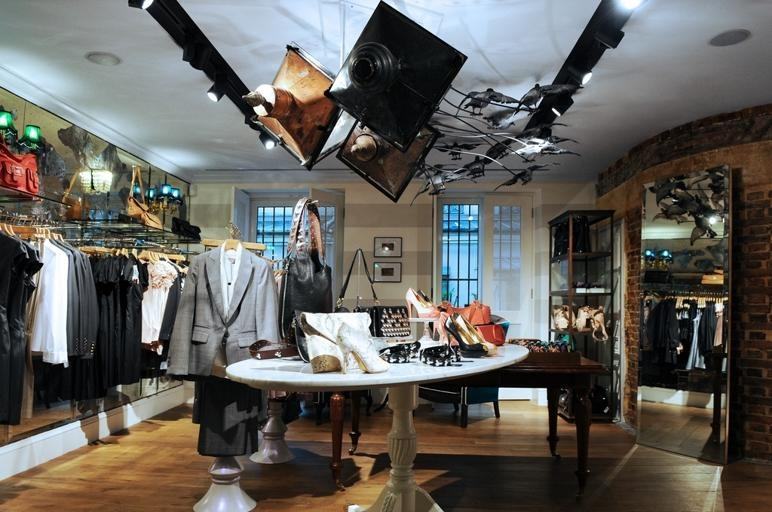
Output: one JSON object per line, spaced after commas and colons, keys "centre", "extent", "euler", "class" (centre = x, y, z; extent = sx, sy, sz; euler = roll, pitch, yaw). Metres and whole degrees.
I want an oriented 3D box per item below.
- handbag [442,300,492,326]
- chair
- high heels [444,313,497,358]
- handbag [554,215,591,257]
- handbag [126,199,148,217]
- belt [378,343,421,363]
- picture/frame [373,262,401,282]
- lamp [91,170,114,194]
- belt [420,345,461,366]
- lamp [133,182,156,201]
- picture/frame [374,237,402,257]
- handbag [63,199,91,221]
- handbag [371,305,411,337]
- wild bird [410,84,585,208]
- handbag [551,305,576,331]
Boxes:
{"centre": [0.662, 0.509, 4.310], "extent": [0.350, 0.136, 0.255], "euler": [5, 1, -10], "class": "handbag"}
{"centre": [0.810, 1.401, 6.852], "extent": [1.478, 1.751, 1.483], "euler": [-10, -31, 27], "class": "chair"}
{"centre": [0.554, 0.582, 3.755], "extent": [0.370, 0.145, 0.229], "euler": [24, 16, 35], "class": "high heels"}
{"centre": [2.410, -0.158, 6.840], "extent": [0.278, 0.456, 0.518], "euler": [1, -6, -1], "class": "handbag"}
{"centre": [-2.900, -0.455, 6.187], "extent": [0.116, 0.223, 0.235], "euler": [-37, -11, 11], "class": "handbag"}
{"centre": [0.100, 0.626, 3.346], "extent": [0.187, 0.061, 0.114], "euler": [-4, 0, -43], "class": "belt"}
{"centre": [0.032, 0.327, 7.587], "extent": [0.297, 0.203, 0.019], "euler": [1, -5, -3], "class": "picture/frame"}
{"centre": [-3.045, -0.694, 5.770], "extent": [0.227, 0.287, 0.221], "euler": [10, -10, -32], "class": "lamp"}
{"centre": [0.357, 0.642, 3.361], "extent": [0.282, 0.109, 0.237], "euler": [0, 1, -13], "class": "belt"}
{"centre": [-2.980, -0.659, 6.539], "extent": [0.133, 0.201, 0.209], "euler": [-2, -9, 4], "class": "lamp"}
{"centre": [0.036, -0.017, 7.595], "extent": [0.291, 0.199, 0.020], "euler": [1, -5, -2], "class": "picture/frame"}
{"centre": [-3.178, -0.382, 5.455], "extent": [0.132, 0.204, 0.222], "euler": [-3, -8, 18], "class": "handbag"}
{"centre": [0.008, 0.504, 3.794], "extent": [0.361, 0.252, 0.193], "euler": [3, -23, -21], "class": "handbag"}
{"centre": [1.128, -1.161, 5.425], "extent": [1.295, 0.512, 1.339], "euler": [-7, -27, 19], "class": "wild bird"}
{"centre": [2.263, 0.855, 6.773], "extent": [0.309, 0.308, 0.294], "euler": [10, -12, -32], "class": "handbag"}
